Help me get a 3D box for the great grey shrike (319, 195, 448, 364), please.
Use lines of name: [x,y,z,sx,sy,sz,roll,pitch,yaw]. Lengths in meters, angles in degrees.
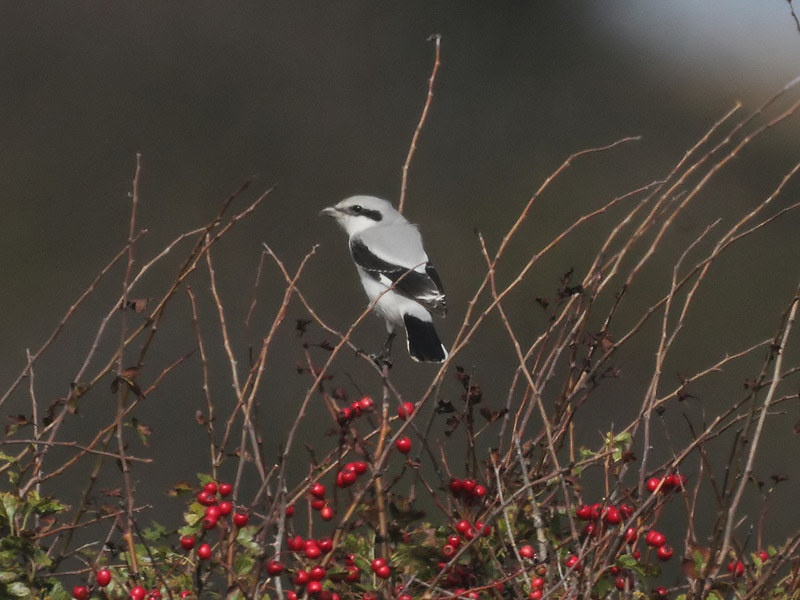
great grey shrike: [-0.012,-0.117,7.291,0.391,1.014,0.860,-5,-63,-51]
